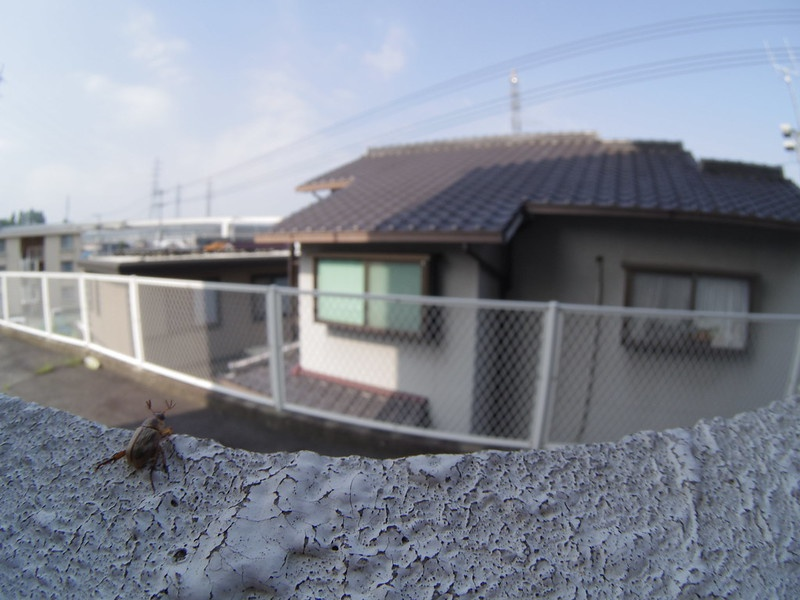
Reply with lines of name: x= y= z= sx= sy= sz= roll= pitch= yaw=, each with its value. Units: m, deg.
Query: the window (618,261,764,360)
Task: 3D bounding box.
window: x=3.096 y=0.128 z=6.672 sx=1.236 sy=0.962 sz=0.050 roll=0 pitch=-18 yaw=34

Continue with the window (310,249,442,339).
window: x=-0.382 y=-0.090 z=7.341 sx=1.479 sy=0.940 sz=0.094 roll=5 pitch=6 yaw=20
